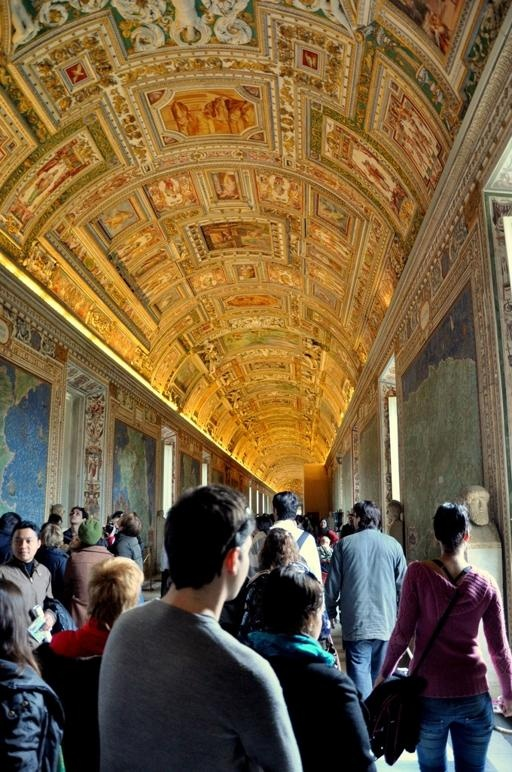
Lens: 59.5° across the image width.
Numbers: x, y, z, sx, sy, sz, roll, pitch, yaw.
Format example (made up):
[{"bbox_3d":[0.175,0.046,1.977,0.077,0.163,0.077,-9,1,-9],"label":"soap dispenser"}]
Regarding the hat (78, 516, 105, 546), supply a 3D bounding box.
[{"bbox_3d":[-1.845,1.692,5.055,0.266,0.352,0.395,1,-2,-13],"label":"hat"}]
